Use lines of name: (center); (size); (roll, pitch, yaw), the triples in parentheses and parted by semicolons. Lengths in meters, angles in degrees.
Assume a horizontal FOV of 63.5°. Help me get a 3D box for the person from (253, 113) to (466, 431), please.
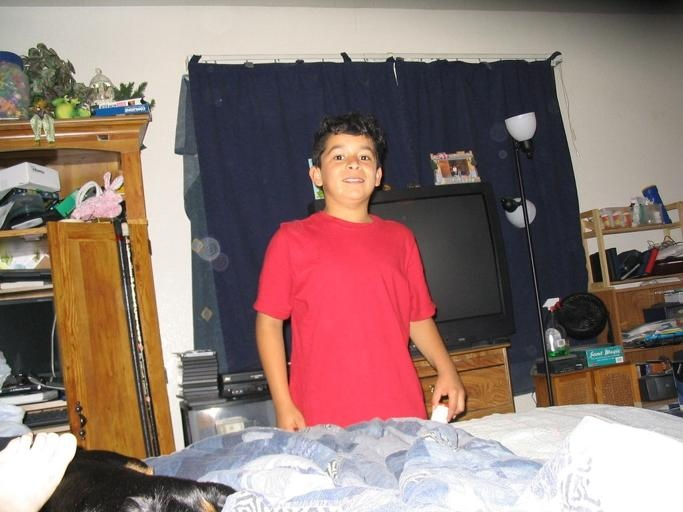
person: (0.030, 0.012, 1.966); (0.687, 0.796, 0.457); (-4, -2, -9)

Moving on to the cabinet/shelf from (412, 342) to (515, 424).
cabinet/shelf: (0.542, 0.573, 2.464); (0.455, 0.446, 0.197); (-3, -9, -15)

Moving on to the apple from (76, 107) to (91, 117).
apple: (-1.297, -0.721, 2.784); (0.057, 0.046, 0.053); (4, 7, 13)

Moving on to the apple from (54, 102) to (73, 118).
apple: (-1.372, -0.719, 2.734); (0.086, 0.087, 0.081); (-1, -16, -30)

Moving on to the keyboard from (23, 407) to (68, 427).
keyboard: (-1.395, 0.765, 2.606); (0.179, 0.064, 0.159); (-3, -3, -29)
